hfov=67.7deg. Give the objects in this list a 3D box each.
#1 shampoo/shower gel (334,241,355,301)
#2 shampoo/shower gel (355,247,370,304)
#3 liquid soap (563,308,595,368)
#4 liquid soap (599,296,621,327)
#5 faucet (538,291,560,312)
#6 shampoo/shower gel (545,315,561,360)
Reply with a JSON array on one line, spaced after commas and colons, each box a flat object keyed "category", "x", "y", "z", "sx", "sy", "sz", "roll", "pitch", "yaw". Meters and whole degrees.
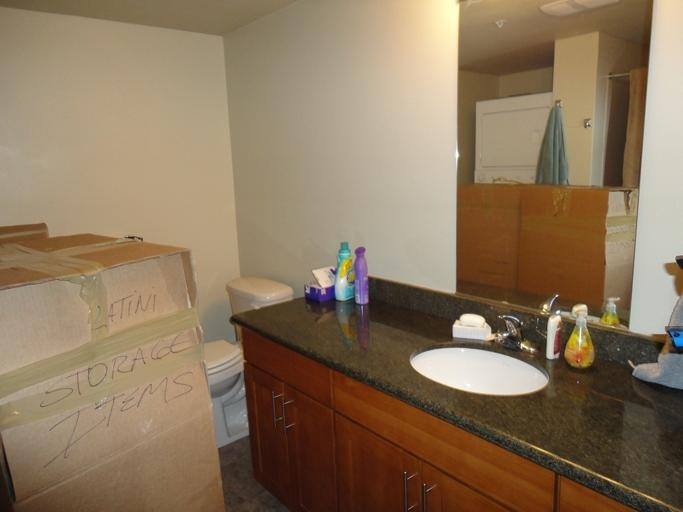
[{"category": "shampoo/shower gel", "x": 0.010, "y": 0.072, "z": 2.449, "sx": 0.096, "sy": 0.283, "sz": 0.070, "roll": -2, "pitch": 10, "yaw": -4}, {"category": "shampoo/shower gel", "x": 0.089, "y": 0.089, "z": 2.395, "sx": 0.060, "sy": 0.270, "sz": 0.079, "roll": -2, "pitch": 10, "yaw": -2}, {"category": "liquid soap", "x": 0.802, "y": 0.274, "z": 1.713, "sx": 0.091, "sy": 0.202, "sz": 0.066, "roll": 3, "pitch": 11, "yaw": 24}, {"category": "liquid soap", "x": 0.932, "y": 0.188, "z": 1.764, "sx": 0.058, "sy": 0.102, "sz": 0.020, "roll": 5, "pitch": 12, "yaw": 32}, {"category": "faucet", "x": 0.741, "y": 0.160, "z": 1.848, "sx": 0.050, "sy": 0.098, "sz": 0.066, "roll": 17, "pitch": -14, "yaw": 12}, {"category": "shampoo/shower gel", "x": 0.745, "y": 0.278, "z": 1.778, "sx": 0.078, "sy": 0.155, "sz": 0.038, "roll": -7, "pitch": 12, "yaw": -29}]
